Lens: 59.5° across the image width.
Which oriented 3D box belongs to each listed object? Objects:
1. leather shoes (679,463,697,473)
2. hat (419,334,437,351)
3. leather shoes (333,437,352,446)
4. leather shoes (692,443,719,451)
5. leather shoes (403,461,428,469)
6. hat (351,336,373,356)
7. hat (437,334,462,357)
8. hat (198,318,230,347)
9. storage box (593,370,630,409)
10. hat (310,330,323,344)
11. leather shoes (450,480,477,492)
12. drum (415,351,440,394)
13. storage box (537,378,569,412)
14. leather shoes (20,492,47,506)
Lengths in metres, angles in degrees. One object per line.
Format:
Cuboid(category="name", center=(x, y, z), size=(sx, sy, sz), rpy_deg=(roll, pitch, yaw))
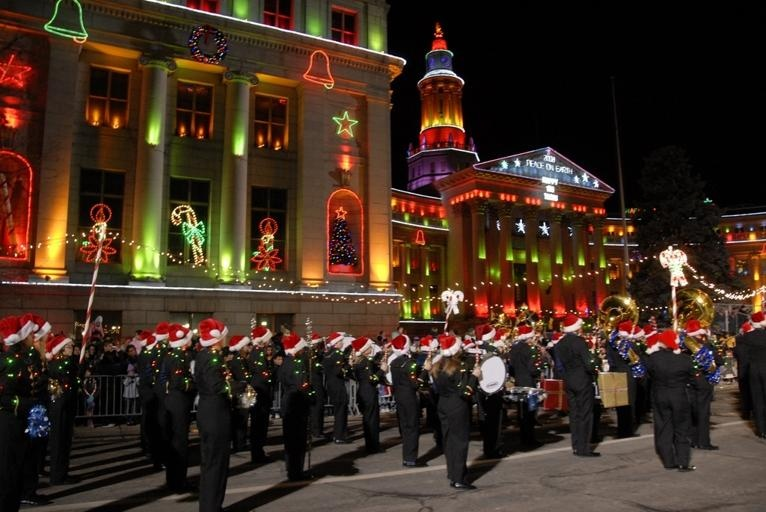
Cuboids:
Cuboid(category="leather shoes", center=(7.440, 5.159, 16.373), size=(0.490, 0.192, 0.157), rpy_deg=(-3, -1, -26))
Cuboid(category="hat", center=(1.258, 2.561, 19.314), size=(0.562, 0.420, 0.404), rpy_deg=(-10, 2, 10))
Cuboid(category="leather shoes", center=(-1.220, 5.564, 20.103), size=(0.575, 0.211, 0.183), rpy_deg=(1, -7, -6))
Cuboid(category="leather shoes", center=(8.707, 5.160, 18.181), size=(0.704, 0.274, 0.217), rpy_deg=(-3, -7, 3))
Cuboid(category="leather shoes", center=(0.830, 5.384, 17.281), size=(0.625, 0.238, 0.203), rpy_deg=(-2, -11, 1))
Cuboid(category="hat", center=(-0.670, 2.665, 19.485), size=(0.560, 0.300, 0.412), rpy_deg=(-30, 6, 18))
Cuboid(category="hat", center=(1.548, 2.128, 15.873), size=(0.406, 0.307, 0.536), rpy_deg=(-20, -13, -7))
Cuboid(category="hat", center=(-3.778, 1.717, 14.928), size=(0.535, 0.633, 0.341), rpy_deg=(1, -13, -14))
Cuboid(category="storage box", center=(6.474, 3.734, 18.787), size=(1.101, 0.937, 1.031), rpy_deg=(-1, -2, 5))
Cuboid(category="hat", center=(-2.376, 2.935, 24.012), size=(0.552, 0.286, 0.748), rpy_deg=(0, -10, -7))
Cuboid(category="leather shoes", center=(1.879, 5.375, 15.619), size=(0.610, 0.223, 0.203), rpy_deg=(-1, -8, -3))
Cuboid(category="drum", center=(1.170, 2.933, 16.736), size=(0.691, 1.140, 0.878), rpy_deg=(-3, -13, -7))
Cuboid(category="storage box", center=(4.768, 4.091, 19.862), size=(1.270, 0.698, 1.251), rpy_deg=(-1, -13, 24))
Cuboid(category="leather shoes", center=(-7.824, 5.579, 15.288), size=(0.699, 0.273, 0.223), rpy_deg=(3, -12, -8))
